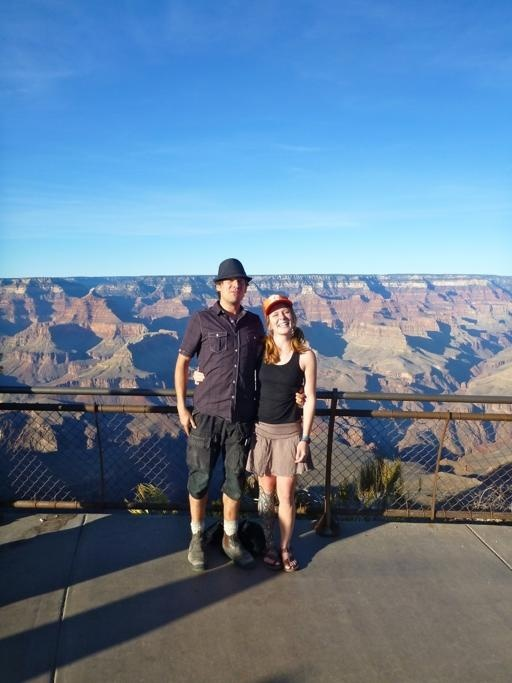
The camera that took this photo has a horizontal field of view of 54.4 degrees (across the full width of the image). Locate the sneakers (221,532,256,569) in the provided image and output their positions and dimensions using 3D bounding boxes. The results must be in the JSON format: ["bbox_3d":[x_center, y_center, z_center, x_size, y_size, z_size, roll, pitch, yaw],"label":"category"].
[{"bbox_3d":[-0.114,1.376,3.299,0.101,0.195,0.278,-7,-2,-29],"label":"sneakers"}]

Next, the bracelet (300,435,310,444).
[{"bbox_3d":[0.322,0.623,3.174,0.043,0.029,0.051,4,7,-2],"label":"bracelet"}]

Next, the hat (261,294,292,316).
[{"bbox_3d":[0.126,-0.231,3.209,0.217,0.152,0.167,4,7,31],"label":"hat"}]

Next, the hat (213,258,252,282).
[{"bbox_3d":[-0.142,-0.452,3.206,0.234,0.149,0.209,0,6,-5],"label":"hat"}]

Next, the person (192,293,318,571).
[{"bbox_3d":[0.165,0.574,3.228,0.426,1.754,0.337,0,6,-1],"label":"person"}]

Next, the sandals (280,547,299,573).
[{"bbox_3d":[0.220,1.404,3.206,0.114,0.113,0.119,1,6,1],"label":"sandals"}]
